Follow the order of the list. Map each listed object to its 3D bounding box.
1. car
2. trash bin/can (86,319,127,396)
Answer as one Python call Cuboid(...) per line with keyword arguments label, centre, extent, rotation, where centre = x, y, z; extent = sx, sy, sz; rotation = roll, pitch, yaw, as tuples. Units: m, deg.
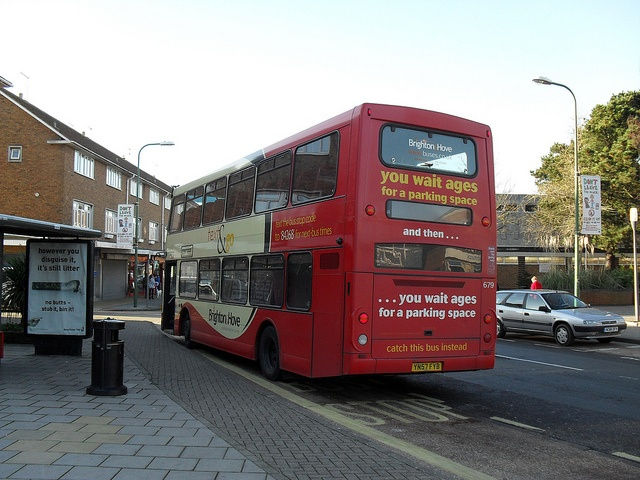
Cuboid(label="car", centre=(7.984, 2.683, 18.402), extent=(1.642, 1.815, 3.693), rotation=(4, -4, -38))
Cuboid(label="trash bin/can", centre=(-3.641, 2.018, 9.121), extent=(0.654, 1.304, 0.325), rotation=(2, -3, -18))
